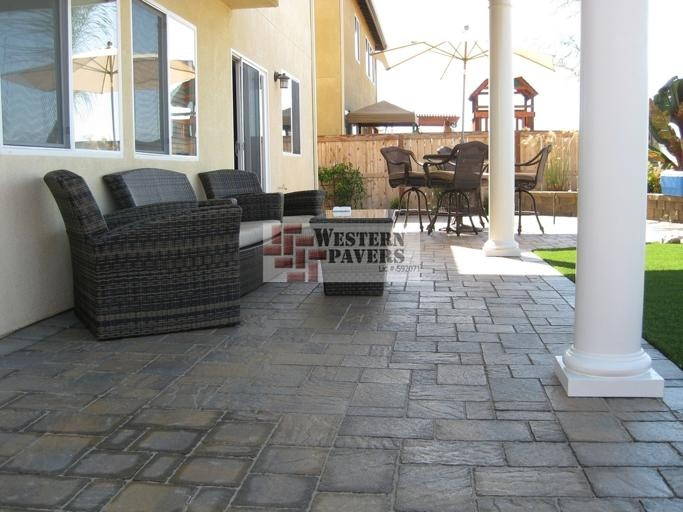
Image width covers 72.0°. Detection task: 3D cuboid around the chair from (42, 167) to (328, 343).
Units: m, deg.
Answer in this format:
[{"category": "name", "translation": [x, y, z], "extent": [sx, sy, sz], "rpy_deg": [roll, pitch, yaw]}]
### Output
[{"category": "chair", "translation": [-1.383, -0.128, 3.918], "extent": [1.411, 1.111, 1.755], "rpy_deg": [-3, 9, -10]}]

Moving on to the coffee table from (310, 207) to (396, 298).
[{"category": "coffee table", "translation": [0.110, -0.049, 4.484], "extent": [0.892, 0.584, 0.707], "rpy_deg": [-1, 5, 2]}]

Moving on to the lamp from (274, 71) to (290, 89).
[{"category": "lamp", "translation": [-1.052, -3.062, 8.234], "extent": [0.281, 0.306, 0.304], "rpy_deg": [-1, 4, -13]}]

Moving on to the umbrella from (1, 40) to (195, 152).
[{"category": "umbrella", "translation": [-1.959, -1.487, 4.119], "extent": [1.363, 1.019, 1.226], "rpy_deg": [-3, 6, -18]}]
